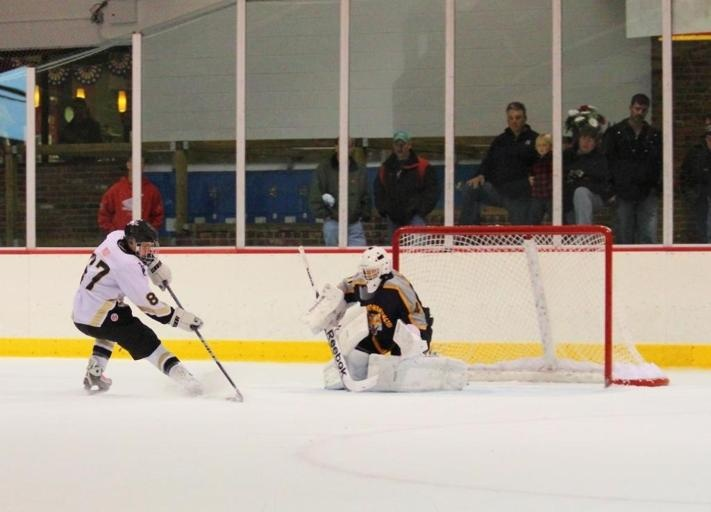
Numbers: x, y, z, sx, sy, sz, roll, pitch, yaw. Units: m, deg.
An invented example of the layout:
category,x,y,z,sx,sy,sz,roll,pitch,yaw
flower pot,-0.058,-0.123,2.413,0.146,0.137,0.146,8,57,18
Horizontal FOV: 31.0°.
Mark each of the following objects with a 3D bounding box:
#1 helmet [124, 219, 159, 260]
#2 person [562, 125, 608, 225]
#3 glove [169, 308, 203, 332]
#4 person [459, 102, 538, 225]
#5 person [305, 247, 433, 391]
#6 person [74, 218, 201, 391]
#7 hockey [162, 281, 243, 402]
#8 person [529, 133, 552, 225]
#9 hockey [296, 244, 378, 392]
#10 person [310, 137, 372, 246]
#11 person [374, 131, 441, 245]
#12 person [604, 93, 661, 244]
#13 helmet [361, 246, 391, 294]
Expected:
category,x,y,z,sx,sy,sz,roll,pitch,yaw
helmet,-1.712,-0.171,10.610,0.334,0.330,0.254,7,23,-3
person,2.153,-0.746,11.927,0.418,0.859,0.224,1,13,9
glove,-1.373,0.518,10.372,0.229,0.096,0.168,20,4,34
person,1.407,-0.791,12.031,0.865,1.291,0.750,0,12,-4
person,0.199,0.521,10.896,1.285,1.433,1.081,2,3,36
person,-1.795,0.493,10.643,1.079,1.487,0.689,9,17,15
hockey,-1.326,0.776,11.329,0.079,1.066,0.221,-19,-20,-49
person,1.742,-0.718,11.967,0.214,0.807,0.223,1,13,7
hockey,-0.185,0.513,10.811,0.502,1.366,0.113,-28,-15,26
person,-0.098,-0.419,12.248,0.576,1.418,0.430,-4,18,-2
person,0.487,-0.700,12.067,0.577,0.865,0.227,0,13,1
person,2.630,-0.706,12.026,0.589,1.745,0.383,-7,26,3
helmet,0.169,0.096,10.604,0.274,0.356,0.353,1,11,33
